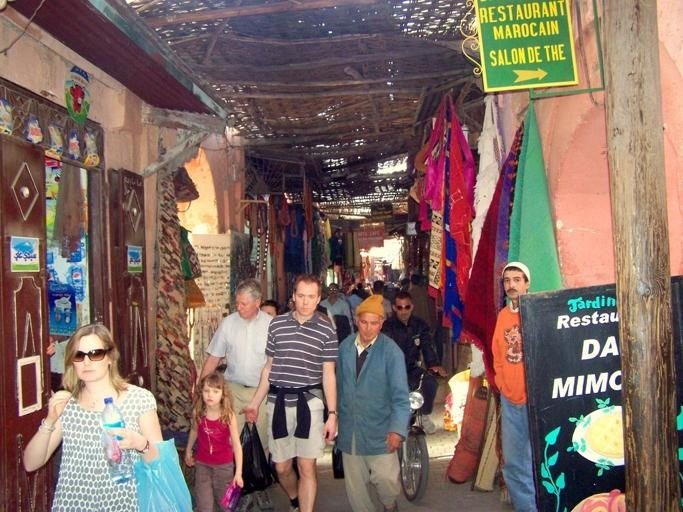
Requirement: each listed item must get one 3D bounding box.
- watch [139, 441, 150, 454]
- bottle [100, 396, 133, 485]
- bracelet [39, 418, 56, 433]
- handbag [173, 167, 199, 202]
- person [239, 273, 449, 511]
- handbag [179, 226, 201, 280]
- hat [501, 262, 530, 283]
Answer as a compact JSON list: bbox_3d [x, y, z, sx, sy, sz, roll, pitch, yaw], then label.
[{"bbox_3d":[-1.221,1.178,4.071,0.024,0.067,0.063,22,-44,-36],"label":"watch"},{"bbox_3d":[-1.393,1.163,4.086,0.146,0.490,0.133,-1,-3,0],"label":"bottle"},{"bbox_3d":[-1.842,1.045,4.147,0.104,0.057,0.121,8,-14,-30],"label":"bracelet"},{"bbox_3d":[-2.199,-0.959,9.142,0.409,0.486,0.136,-26,35,-33],"label":"handbag"},{"bbox_3d":[-0.188,1.246,5.922,1.417,2.151,0.605,-1,-3,-2],"label":"person"},{"bbox_3d":[-1.922,-0.045,8.373,0.256,0.674,0.700,0,-3,-14],"label":"handbag"},{"bbox_3d":[1.511,0.128,5.632,0.148,0.198,0.100,-3,-2,22],"label":"hat"}]
